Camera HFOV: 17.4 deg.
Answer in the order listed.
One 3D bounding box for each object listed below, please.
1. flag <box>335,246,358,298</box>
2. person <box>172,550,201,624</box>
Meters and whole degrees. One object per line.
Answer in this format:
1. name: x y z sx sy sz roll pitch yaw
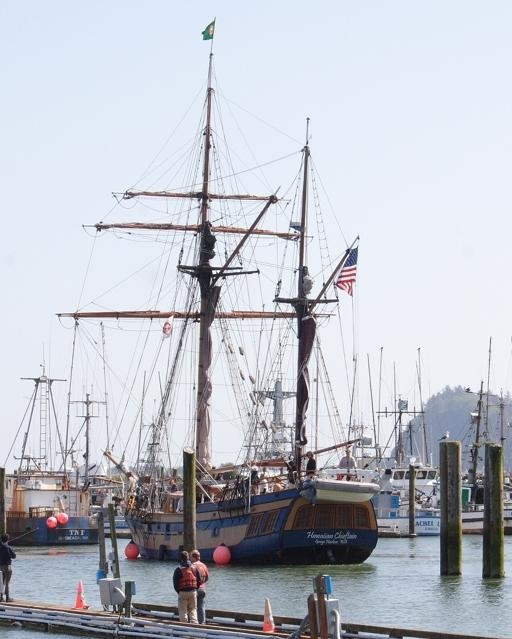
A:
1. flag: 3.861 -2.114 73.279 0.811 2.782 0.137 -2 -45 14
2. person: -2.050 7.803 48.668 0.732 2.058 1.213 1 -8 0
